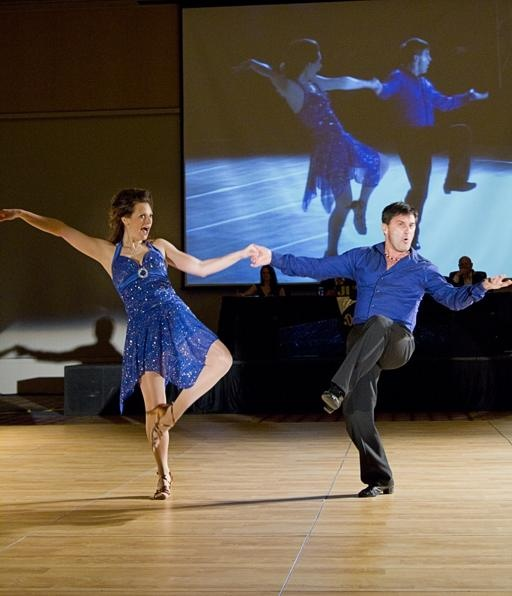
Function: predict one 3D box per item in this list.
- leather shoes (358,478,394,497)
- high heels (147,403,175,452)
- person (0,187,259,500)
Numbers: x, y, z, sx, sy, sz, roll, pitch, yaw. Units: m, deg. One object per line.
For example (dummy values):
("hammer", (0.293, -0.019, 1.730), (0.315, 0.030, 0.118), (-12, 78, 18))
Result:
("leather shoes", (0.486, 0.769, 2.651), (0.158, 0.051, 0.050), (1, -4, -16))
("high heels", (-0.416, 0.535, 2.753), (0.084, 0.196, 0.093), (6, 6, 19))
("person", (-0.478, 0.168, 2.921), (0.712, 1.297, 0.485), (8, 8, 35))
